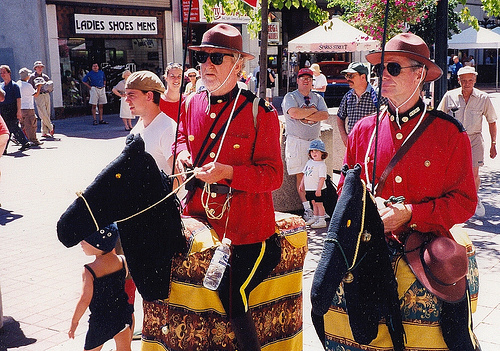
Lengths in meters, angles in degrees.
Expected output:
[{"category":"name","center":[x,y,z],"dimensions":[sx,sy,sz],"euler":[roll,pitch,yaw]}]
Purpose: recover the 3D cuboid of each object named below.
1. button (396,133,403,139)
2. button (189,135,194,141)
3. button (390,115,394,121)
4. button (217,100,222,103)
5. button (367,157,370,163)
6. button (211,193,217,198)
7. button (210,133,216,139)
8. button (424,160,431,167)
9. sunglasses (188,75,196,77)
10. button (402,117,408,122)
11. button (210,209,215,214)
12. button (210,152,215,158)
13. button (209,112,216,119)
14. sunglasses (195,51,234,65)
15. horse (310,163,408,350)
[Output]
[{"category":"button","center":[1.017,-0.271,3.618],"dimensions":[0.042,0.036,0.013],"euler":[4,15,22]},{"category":"button","center":[-0.446,-0.289,4.072],"dimensions":[0.041,0.040,0.014],"euler":[8,17,34]},{"category":"button","center":[0.980,-0.399,3.673],"dimensions":[0.028,0.036,0.009],"euler":[5,-6,33]},{"category":"button","center":[-0.227,-0.560,3.979],"dimensions":[0.020,0.020,0.006],"euler":[12,14,3]},{"category":"button","center":[0.824,-0.110,3.693],"dimensions":[0.009,0.039,0.033],"euler":[9,18,38]},{"category":"button","center":[-0.266,0.146,3.909],"dimensions":[0.036,0.039,0.008],"euler":[-1,14,6]},{"category":"button","center":[-0.272,-0.295,3.943],"dimensions":[0.035,0.039,0.019],"euler":[10,18,39]},{"category":"button","center":[1.177,-0.079,3.525],"dimensions":[0.038,0.040,0.010],"euler":[2,-4,10]},{"category":"sunglasses","center":[-1.123,-1.953,10.362],"dimensions":[0.072,0.042,0.280],"euler":[2,15,15]},{"category":"button","center":[1.054,-0.385,3.614],"dimensions":[0.029,0.030,0.011],"euler":[17,10,15]},{"category":"button","center":[-0.275,0.264,3.913],"dimensions":[0.031,0.033,0.016],"euler":[-2,14,-1]},{"category":"button","center":[-0.276,-0.154,3.914],"dimensions":[0.037,0.039,0.009],"euler":[0,-7,18]},{"category":"button","center":[-0.276,-0.451,3.974],"dimensions":[0.050,0.045,0.022],"euler":[6,16,30]},{"category":"sunglasses","center":[-0.259,-0.871,3.909],"dimensions":[0.275,0.098,0.067],"euler":[-3,14,-3]},{"category":"horse","center":[0.639,0.543,3.320],"dimensions":[0.661,1.218,0.294],"euler":[-7,14,-19]}]
